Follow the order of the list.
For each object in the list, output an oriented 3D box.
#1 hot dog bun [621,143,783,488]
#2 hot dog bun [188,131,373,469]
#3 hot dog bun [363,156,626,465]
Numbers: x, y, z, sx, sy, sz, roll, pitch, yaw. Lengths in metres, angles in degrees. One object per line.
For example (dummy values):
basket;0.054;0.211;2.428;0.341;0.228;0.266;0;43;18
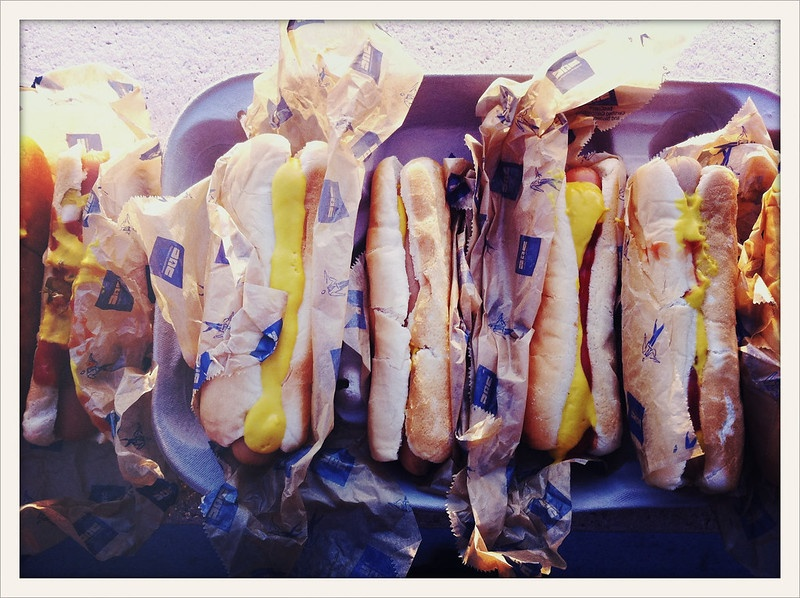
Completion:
hot dog bun;0.512;0.037;1.198;0.180;0.623;0.189;-2;-2;5
hot dog bun;-0.218;-0.004;1.213;0.284;0.580;0.180;3;-4;-8
hot dog bun;0.170;0.013;1.249;0.464;0.560;0.097;1;3;-4
